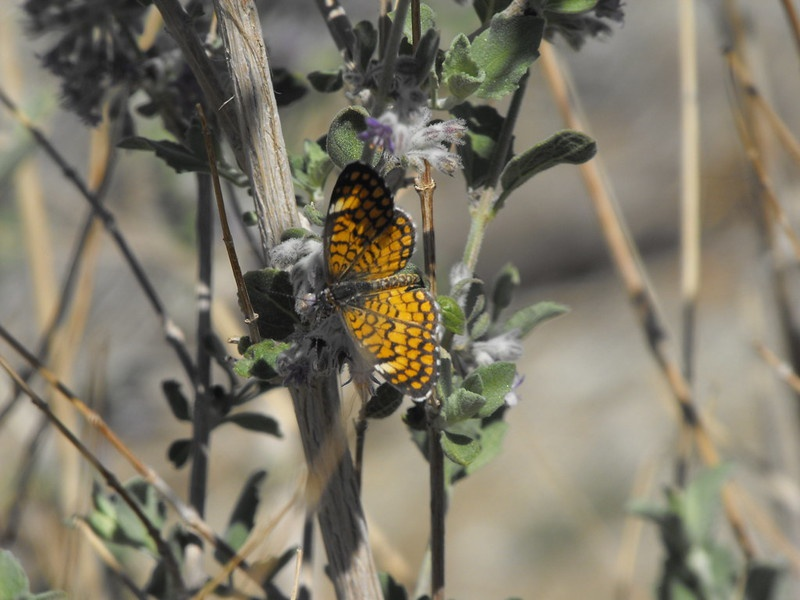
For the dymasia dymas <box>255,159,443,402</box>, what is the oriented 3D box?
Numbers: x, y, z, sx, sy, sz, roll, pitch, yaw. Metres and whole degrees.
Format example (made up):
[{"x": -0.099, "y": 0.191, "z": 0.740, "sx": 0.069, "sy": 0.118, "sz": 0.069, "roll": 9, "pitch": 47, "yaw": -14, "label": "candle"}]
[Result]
[{"x": -0.050, "y": -0.014, "z": 1.551, "sx": 0.138, "sy": 0.075, "sz": 0.246, "roll": -15, "pitch": -36, "yaw": -1, "label": "dymasia dymas"}]
